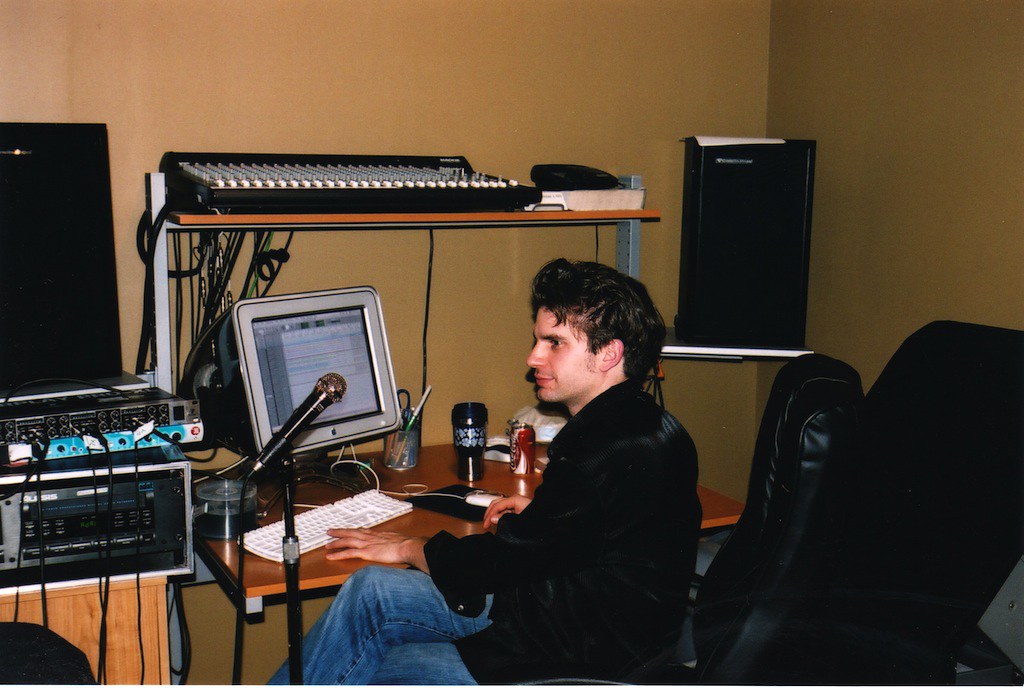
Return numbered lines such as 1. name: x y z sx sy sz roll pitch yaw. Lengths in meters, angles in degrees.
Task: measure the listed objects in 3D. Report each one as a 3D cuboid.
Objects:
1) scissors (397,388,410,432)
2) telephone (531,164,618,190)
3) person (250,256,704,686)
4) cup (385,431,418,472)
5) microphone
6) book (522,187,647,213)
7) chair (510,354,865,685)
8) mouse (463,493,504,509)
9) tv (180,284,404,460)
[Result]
1. scissors: -0.351 0.214 3.047 0.027 0.140 0.052 5 -20 -9
2. telephone: 0.203 -0.545 3.016 0.185 0.057 0.136 2 5 8
3. person: -0.088 0.424 3.016 1.345 1.507 0.720 3 -2 10
4. cup: -0.357 0.347 2.987 0.113 0.133 0.122 0 1 0
5. microphone: -0.488 0.174 2.052 0.192 0.211 0.144 -3 6 -28
6. book: 0.231 -0.458 2.904 0.400 0.071 0.070 -3 6 -21
7. chair: 0.356 0.356 2.371 0.697 0.858 0.483 11 0 -4
8. mouse: -0.092 0.461 2.721 0.080 0.020 0.047 1 14 13
9. tv: -0.725 0.025 2.881 0.541 0.428 0.558 -4 5 -42
